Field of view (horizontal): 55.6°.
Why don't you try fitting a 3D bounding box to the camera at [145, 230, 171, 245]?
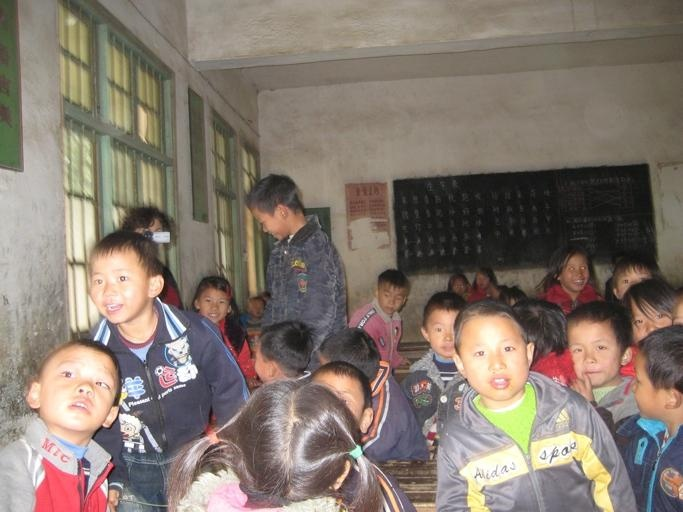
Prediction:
[{"bbox_3d":[-0.842,-0.086,2.951,0.101,0.040,0.083,2,8,4],"label":"camera"}]
